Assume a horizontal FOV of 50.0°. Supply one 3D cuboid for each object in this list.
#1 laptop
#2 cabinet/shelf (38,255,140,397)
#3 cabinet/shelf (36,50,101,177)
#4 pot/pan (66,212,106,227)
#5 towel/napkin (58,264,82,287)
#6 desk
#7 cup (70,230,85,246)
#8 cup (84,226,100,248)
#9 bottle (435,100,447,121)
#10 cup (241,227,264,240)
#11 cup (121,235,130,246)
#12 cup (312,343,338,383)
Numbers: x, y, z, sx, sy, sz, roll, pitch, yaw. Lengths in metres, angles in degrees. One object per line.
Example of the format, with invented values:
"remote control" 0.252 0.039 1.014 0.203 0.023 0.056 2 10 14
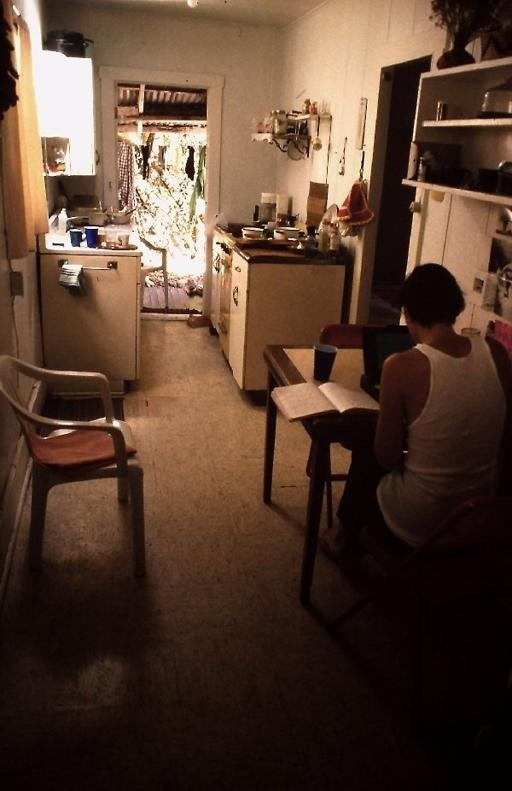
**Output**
"laptop" 0.445 -0.102 1.830 0.195 0.247 0.051 2 1 -20
"cabinet/shelf" -1.052 -0.523 3.636 0.560 1.015 0.752 1 26 -3
"cabinet/shelf" -1.298 -1.984 3.827 0.184 0.915 0.892 3 8 -6
"pot/pan" -1.316 -1.391 4.305 0.276 0.157 0.470 0 14 -16
"towel/napkin" -1.162 -0.762 3.463 0.119 0.179 0.148 5 42 -11
"desk" 0.241 0.283 1.893 0.432 0.646 0.647 0 27 -15
"cup" -1.176 -1.032 3.611 0.089 0.112 0.086 3 12 -1
"cup" -1.078 -1.035 3.613 0.093 0.144 0.203 -1 13 -17
"bottle" 0.708 -1.084 2.104 0.045 0.083 0.128 6 13 17
"cup" -0.026 -1.249 4.306 0.141 0.070 0.127 -11 35 -19
"cup" -0.857 -1.017 3.623 0.052 0.067 0.062 -8 52 -17
"cup" 0.233 -0.108 1.970 0.098 0.134 0.110 9 22 13
